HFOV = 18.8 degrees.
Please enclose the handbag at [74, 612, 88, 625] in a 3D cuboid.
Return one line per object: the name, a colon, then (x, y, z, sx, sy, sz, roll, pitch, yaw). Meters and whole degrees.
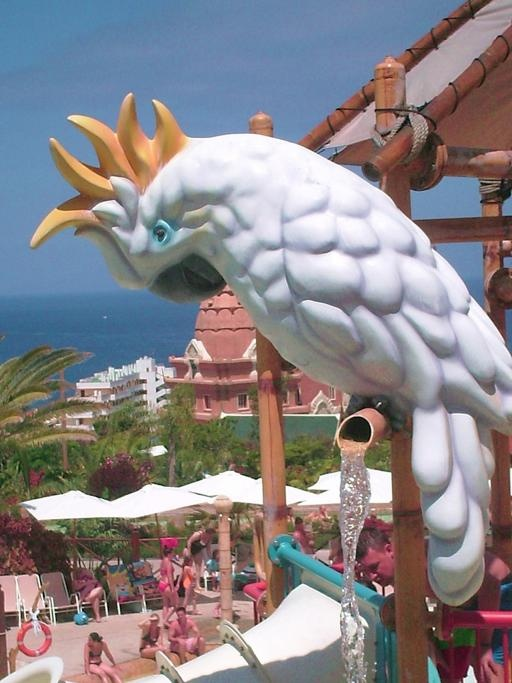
handbag: (-1.787, 2.842, 15.918, 0.142, 0.120, 0.106, 13, 1, -5)
